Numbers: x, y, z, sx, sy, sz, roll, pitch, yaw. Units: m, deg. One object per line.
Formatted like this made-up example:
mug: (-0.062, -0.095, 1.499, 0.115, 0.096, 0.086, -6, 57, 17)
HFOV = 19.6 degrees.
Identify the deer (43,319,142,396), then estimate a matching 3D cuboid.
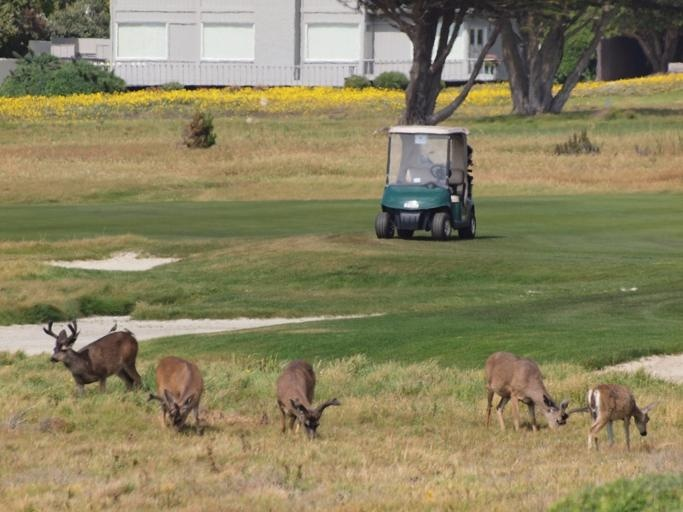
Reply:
deer: (-10.054, 3.861, 78.188, 3.604, 4.169, 2.174, -1, -5, -5)

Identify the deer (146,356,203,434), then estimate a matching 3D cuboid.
deer: (-6.583, 5.394, 76.606, 1.340, 2.848, 4.979, -1, 17, -16)

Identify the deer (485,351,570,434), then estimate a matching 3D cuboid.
deer: (6.938, 5.394, 76.352, 3.921, 3.405, 1.097, 13, 20, 40)

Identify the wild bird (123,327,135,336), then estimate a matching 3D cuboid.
wild bird: (-8.856, 3.042, 80.109, 0.479, 0.233, 0.155, 15, 17, 40)

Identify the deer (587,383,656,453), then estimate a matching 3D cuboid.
deer: (10.683, 6.131, 75.778, 3.000, 2.706, 0.871, 5, 6, -31)

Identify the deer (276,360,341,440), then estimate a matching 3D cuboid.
deer: (-1.573, 5.458, 76.092, 1.827, 3.478, 2.109, -3, 8, -27)
